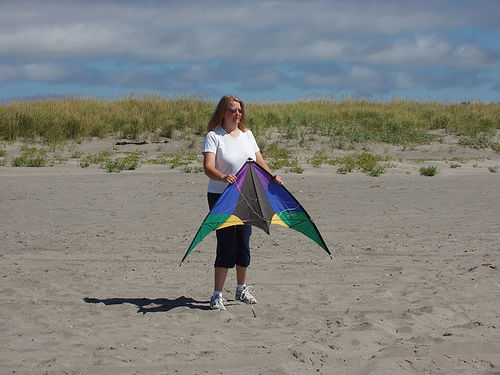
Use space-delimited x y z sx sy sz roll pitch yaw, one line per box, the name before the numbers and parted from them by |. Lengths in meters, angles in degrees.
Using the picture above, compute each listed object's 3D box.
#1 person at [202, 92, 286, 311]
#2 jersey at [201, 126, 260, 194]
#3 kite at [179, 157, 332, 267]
person | -0.249 0.253 10.664 0.862 3.195 0.745 0 7 3
jersey | -0.357 -0.413 10.652 0.701 0.995 0.703 -2 12 -28
kite | 0.126 0.187 10.814 1.789 1.291 0.417 -3 8 -22
